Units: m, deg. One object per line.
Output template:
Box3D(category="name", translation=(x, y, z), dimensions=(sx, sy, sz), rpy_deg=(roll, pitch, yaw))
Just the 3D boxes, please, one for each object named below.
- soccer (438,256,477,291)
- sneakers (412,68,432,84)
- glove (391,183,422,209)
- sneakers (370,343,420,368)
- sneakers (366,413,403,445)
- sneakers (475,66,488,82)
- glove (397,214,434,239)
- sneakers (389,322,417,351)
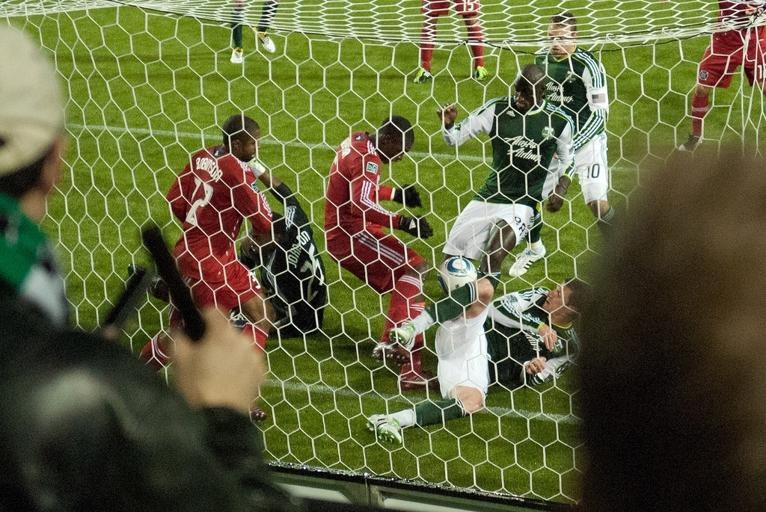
Box3D(category="soccer", translation=(0.321, 0.076, 4.049), dimensions=(0.166, 0.143, 0.135), rpy_deg=(-12, 70, -4))
Box3D(category="sneakers", translation=(0.346, -1.647, 8.346), dimensions=(0.087, 0.116, 0.260), rpy_deg=(6, 31, 36))
Box3D(category="glove", translation=(0.124, -0.313, 4.813), dimensions=(0.140, 0.115, 0.069), rpy_deg=(3, 15, 11))
Box3D(category="sneakers", translation=(0.022, 0.434, 4.107), dimensions=(0.248, 0.093, 0.114), rpy_deg=(13, 5, 28))
Box3D(category="sneakers", translation=(0.017, 0.707, 3.783), dimensions=(0.095, 0.148, 0.058), rpy_deg=(-37, 10, 29))
Box3D(category="sneakers", translation=(0.886, -1.662, 8.321), dimensions=(0.119, 0.063, 0.160), rpy_deg=(-2, 60, 4))
Box3D(category="glove", translation=(0.165, -0.141, 4.703), dimensions=(0.143, 0.058, 0.120), rpy_deg=(17, 39, -6))
Box3D(category="sneakers", translation=(0.090, 0.324, 3.934), dimensions=(0.129, 0.090, 0.141), rpy_deg=(-36, 2, 1))
